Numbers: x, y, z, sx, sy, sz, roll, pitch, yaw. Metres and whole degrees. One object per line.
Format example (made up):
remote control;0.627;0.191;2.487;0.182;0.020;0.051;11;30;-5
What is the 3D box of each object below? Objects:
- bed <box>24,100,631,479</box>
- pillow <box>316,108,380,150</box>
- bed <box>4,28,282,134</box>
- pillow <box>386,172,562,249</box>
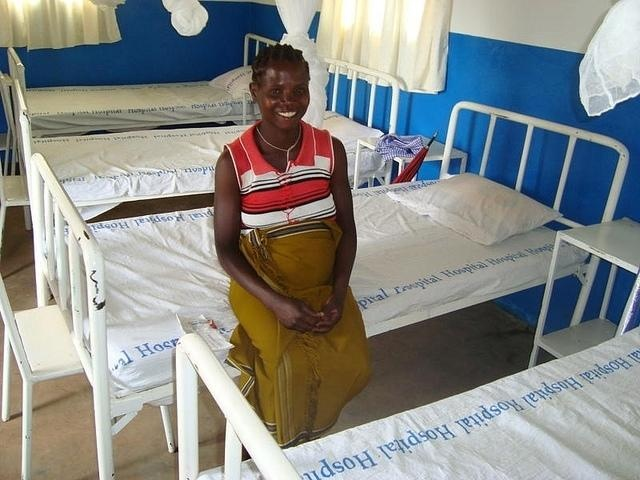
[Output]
bed;0.238;0.027;2.657;2.324;1.170;1.256;-11;39;-19
pillow;0.260;-0.897;3.838;0.384;0.091;0.372;-20;45;-35
bed;-1.654;-1.180;4.947;2.273;1.125;1.229;-11;55;-18
pillow;0.847;-0.184;2.689;0.468;0.167;0.623;-22;28;-23
